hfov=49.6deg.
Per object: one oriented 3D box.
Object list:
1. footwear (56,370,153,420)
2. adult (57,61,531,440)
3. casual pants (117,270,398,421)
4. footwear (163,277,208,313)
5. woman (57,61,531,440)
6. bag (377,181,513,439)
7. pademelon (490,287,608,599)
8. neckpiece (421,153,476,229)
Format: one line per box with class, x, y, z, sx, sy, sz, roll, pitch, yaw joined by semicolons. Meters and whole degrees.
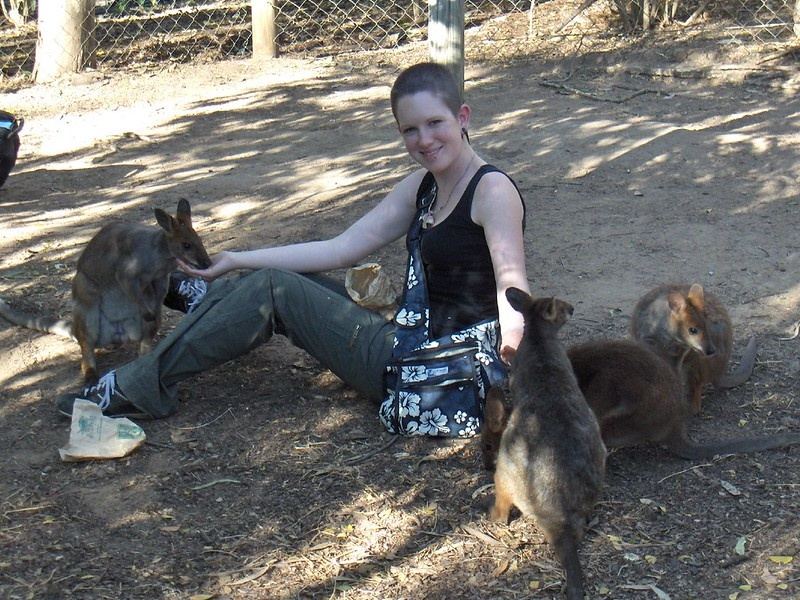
footwear;-1.696;0.552;5.079;0.610;0.271;0.221;13;25;-18
adult;-0.619;-0.203;4.872;2.744;2.005;1.480;0;14;1
casual pants;-0.829;0.227;5.198;1.377;0.639;0.836;-8;11;3
footwear;-1.456;-0.035;6.000;0.228;0.207;0.490;-4;3;-39
woman;-0.592;-0.239;4.905;2.717;2.041;1.367;1;13;1
bag;0.247;0.103;4.955;0.699;1.330;0.557;5;13;-19
pademelon;0.650;0.672;4.365;0.452;1.531;0.657;-3;-25;9
neckpiece;0.234;-0.549;4.817;0.077;0.618;0.164;17;10;-40
